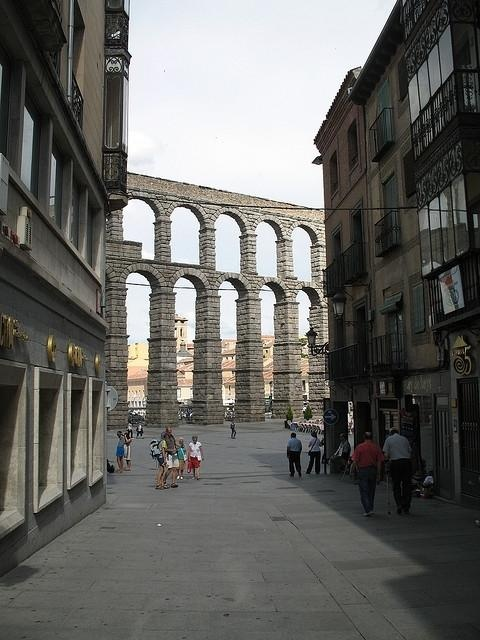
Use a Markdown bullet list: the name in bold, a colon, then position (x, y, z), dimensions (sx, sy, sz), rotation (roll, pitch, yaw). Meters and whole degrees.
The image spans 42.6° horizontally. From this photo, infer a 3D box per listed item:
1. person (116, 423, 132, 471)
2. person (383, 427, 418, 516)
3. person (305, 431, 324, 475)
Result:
- **person**: position (-4.323, 4.862, 23.115), dimensions (0.485, 1.408, 3.354), rotation (1, -9, -10)
- **person**: position (2.907, 2.832, 11.337), dimensions (0.475, 1.426, 0.311), rotation (-1, -6, 12)
- **person**: position (2.529, 4.402, 20.925), dimensions (0.384, 1.654, 0.443), rotation (-2, 23, 0)
